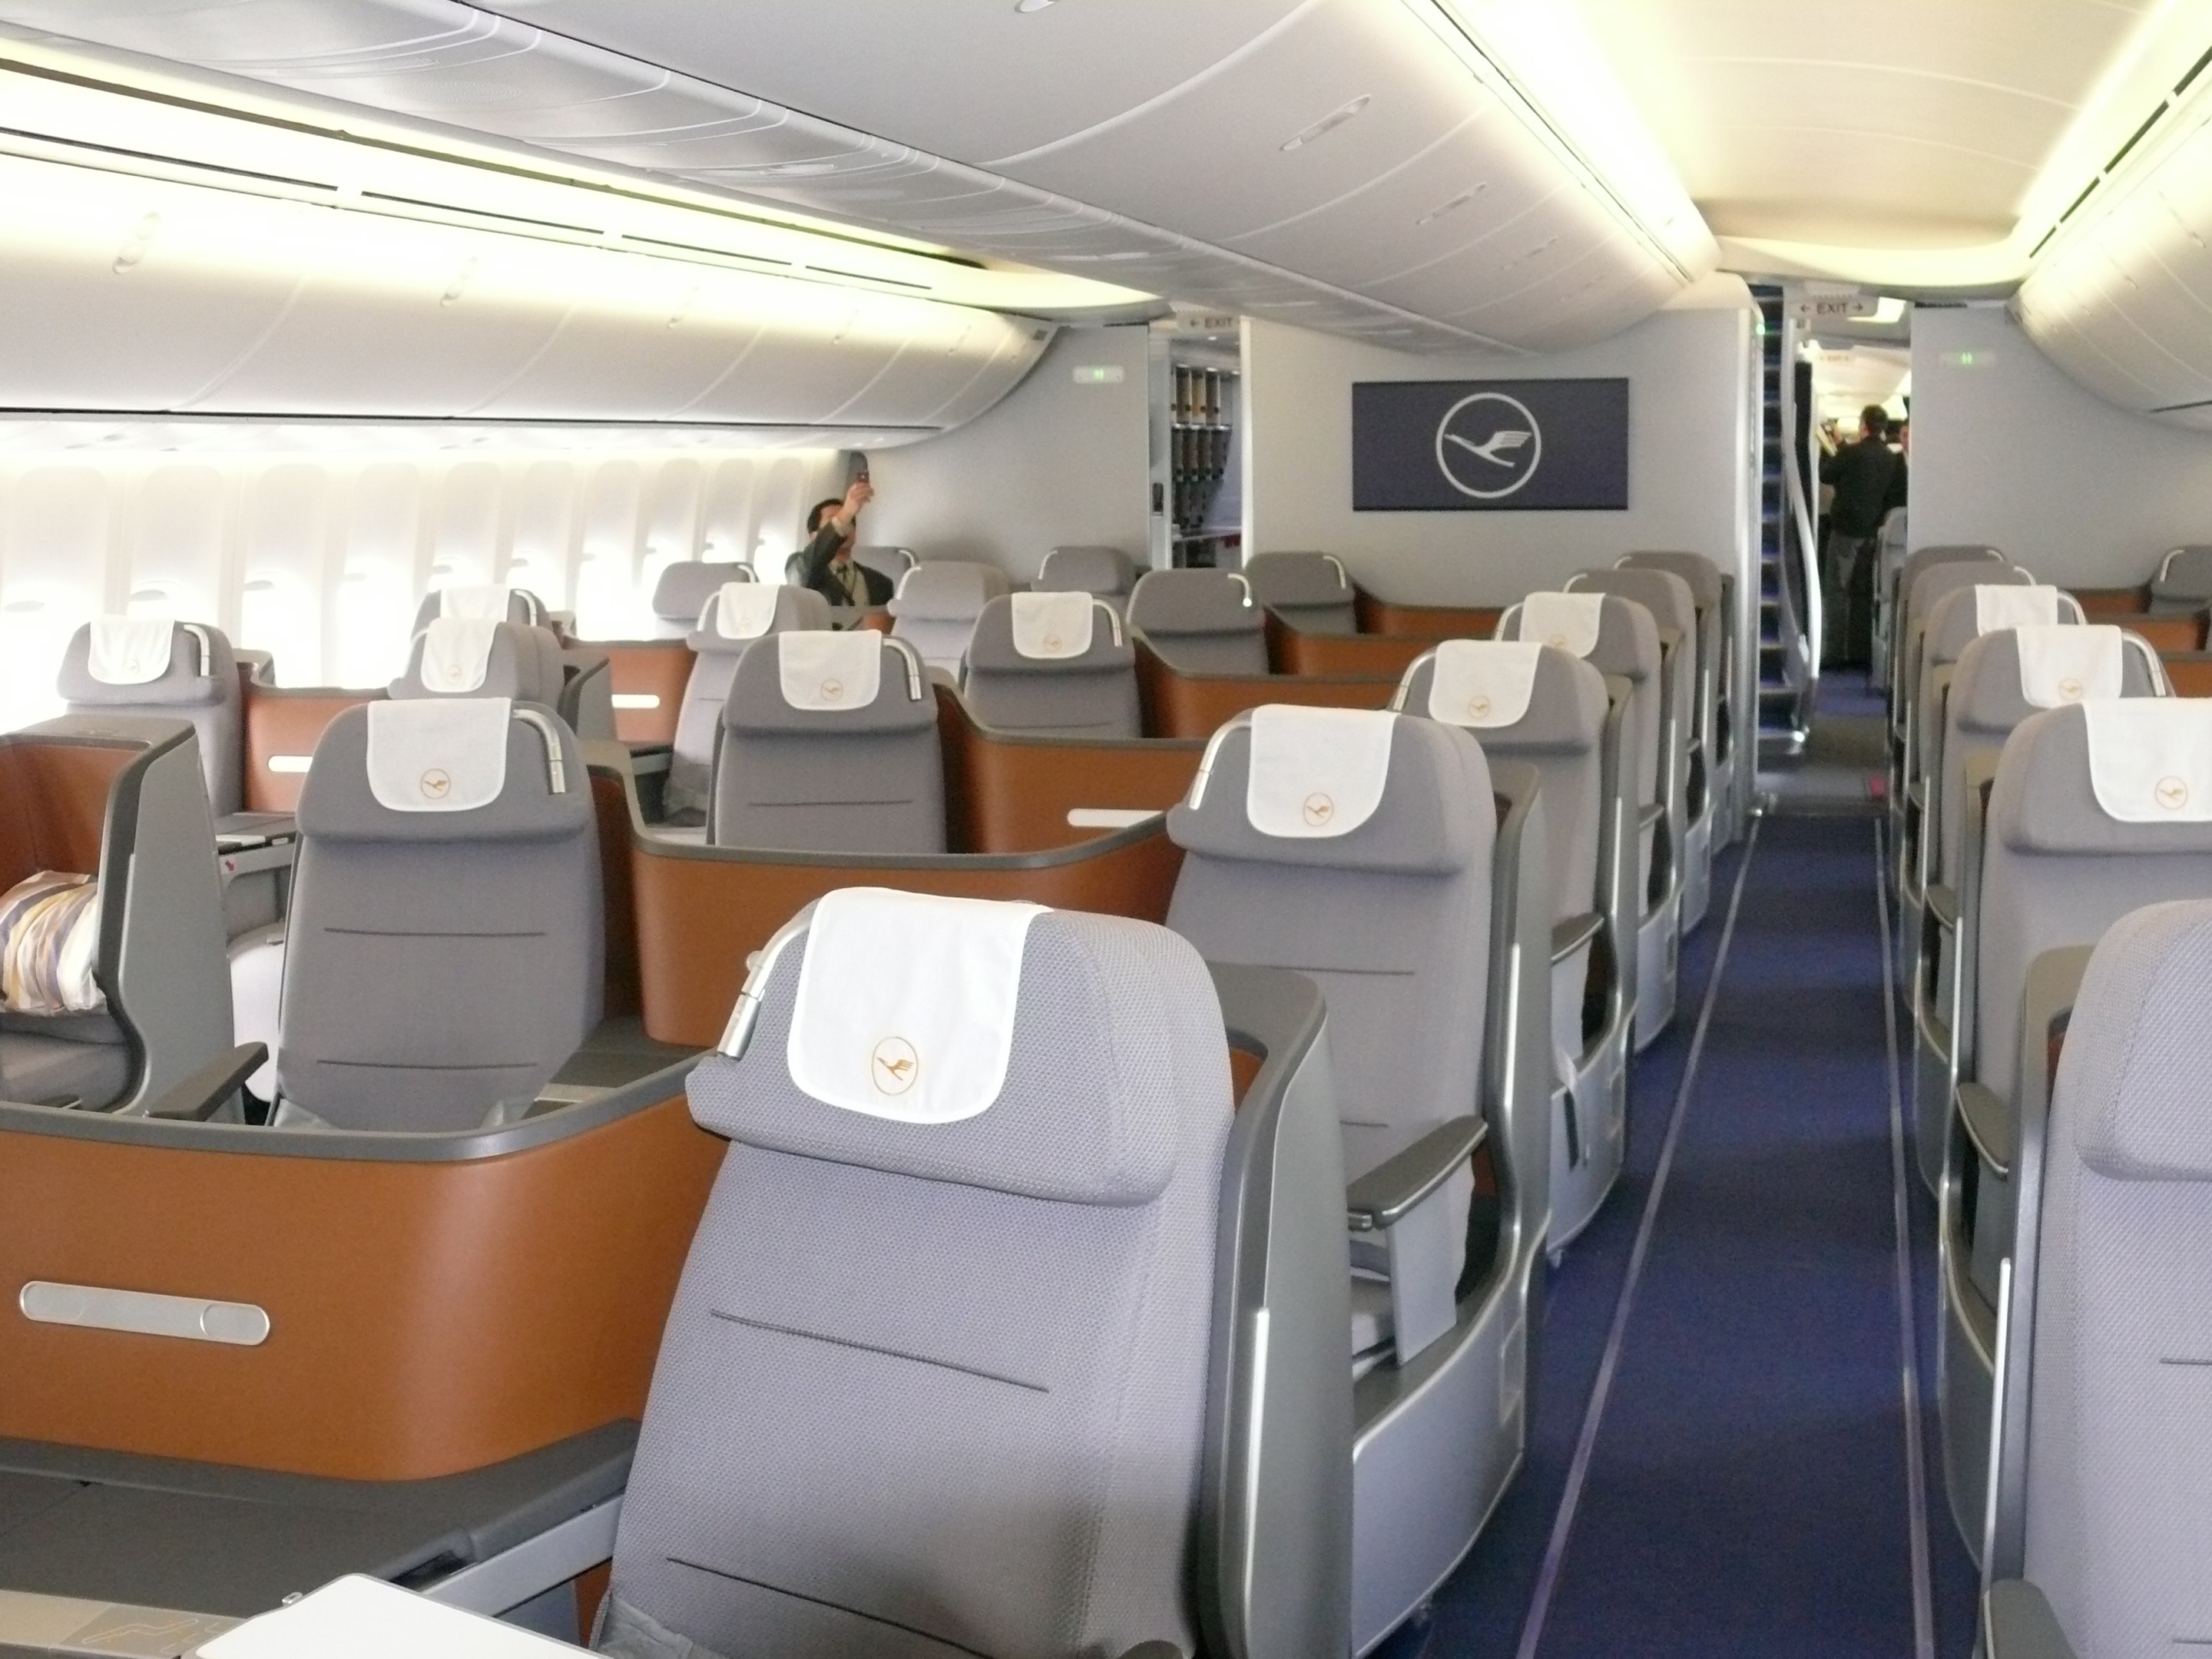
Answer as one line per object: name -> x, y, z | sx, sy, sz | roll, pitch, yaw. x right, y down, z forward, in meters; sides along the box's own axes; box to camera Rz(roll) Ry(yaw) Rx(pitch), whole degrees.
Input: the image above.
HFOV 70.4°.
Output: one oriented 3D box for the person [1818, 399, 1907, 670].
person -> 7.349, -2.785, 15.241 | 0.686, 2.550, 0.982 | 3, 10, 26
